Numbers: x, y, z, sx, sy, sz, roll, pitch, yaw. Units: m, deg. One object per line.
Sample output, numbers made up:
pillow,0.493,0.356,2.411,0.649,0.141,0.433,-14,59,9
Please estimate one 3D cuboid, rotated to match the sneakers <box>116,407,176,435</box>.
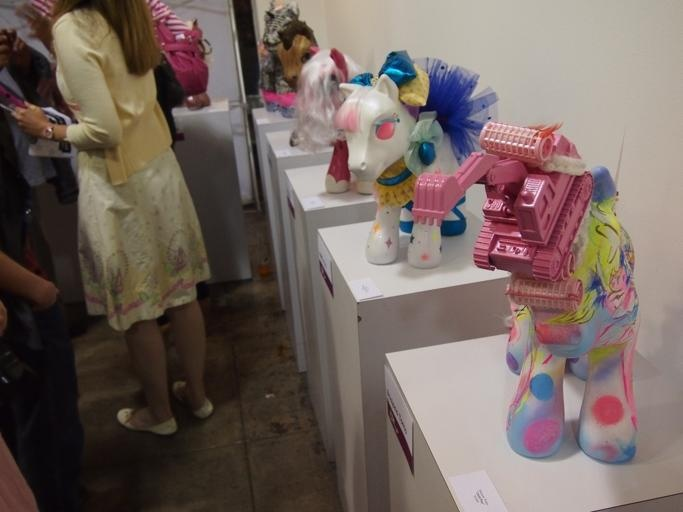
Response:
sneakers,-0.792,0.658,2.311,0.237,0.084,0.103,14,20,4
